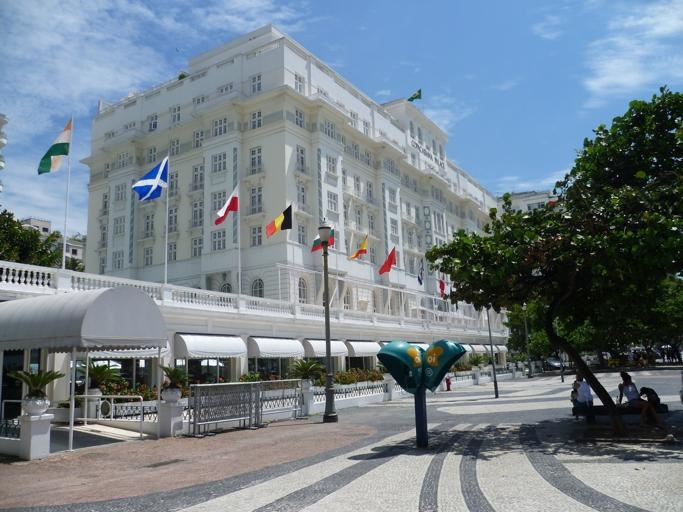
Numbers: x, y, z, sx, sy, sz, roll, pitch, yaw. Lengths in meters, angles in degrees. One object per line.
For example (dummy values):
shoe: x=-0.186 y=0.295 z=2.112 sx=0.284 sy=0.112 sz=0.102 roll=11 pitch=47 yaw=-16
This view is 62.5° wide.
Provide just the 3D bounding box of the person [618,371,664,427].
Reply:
person: x=9.710 y=4.628 z=18.339 sx=0.911 sy=1.762 sz=1.009 roll=-10 pitch=-10 yaw=-32

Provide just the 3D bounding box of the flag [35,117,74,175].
flag: x=-13.575 y=-5.314 z=26.746 sx=1.251 sy=2.902 sz=0.972 roll=3 pitch=-9 yaw=-30

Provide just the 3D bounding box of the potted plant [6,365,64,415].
potted plant: x=-9.167 y=4.128 z=16.851 sx=1.406 sy=1.210 sz=1.494 roll=-1 pitch=-10 yaw=-20

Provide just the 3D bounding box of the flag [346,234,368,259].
flag: x=1.349 y=-0.931 z=53.061 sx=2.153 sy=2.485 sz=0.192 roll=-11 pitch=-22 yaw=40

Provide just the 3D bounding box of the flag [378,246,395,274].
flag: x=4.336 y=0.453 z=54.848 sx=0.226 sy=2.354 sz=2.300 roll=15 pitch=-24 yaw=-26

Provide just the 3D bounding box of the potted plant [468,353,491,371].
potted plant: x=14.940 y=11.698 z=61.874 sx=2.213 sy=1.618 sz=2.238 roll=-6 pitch=-10 yaw=31

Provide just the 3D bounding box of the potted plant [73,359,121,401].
potted plant: x=-10.529 y=5.295 z=24.604 sx=1.819 sy=1.371 sz=1.999 roll=-5 pitch=-10 yaw=38

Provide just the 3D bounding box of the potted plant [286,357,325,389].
potted plant: x=-1.829 y=6.391 z=31.428 sx=1.794 sy=1.270 sz=1.914 roll=3 pitch=-8 yaw=-13

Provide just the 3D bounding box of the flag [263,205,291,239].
flag: x=-4.713 y=-2.512 z=41.923 sx=2.768 sy=2.897 sz=0.466 roll=-7 pitch=-11 yaw=42
